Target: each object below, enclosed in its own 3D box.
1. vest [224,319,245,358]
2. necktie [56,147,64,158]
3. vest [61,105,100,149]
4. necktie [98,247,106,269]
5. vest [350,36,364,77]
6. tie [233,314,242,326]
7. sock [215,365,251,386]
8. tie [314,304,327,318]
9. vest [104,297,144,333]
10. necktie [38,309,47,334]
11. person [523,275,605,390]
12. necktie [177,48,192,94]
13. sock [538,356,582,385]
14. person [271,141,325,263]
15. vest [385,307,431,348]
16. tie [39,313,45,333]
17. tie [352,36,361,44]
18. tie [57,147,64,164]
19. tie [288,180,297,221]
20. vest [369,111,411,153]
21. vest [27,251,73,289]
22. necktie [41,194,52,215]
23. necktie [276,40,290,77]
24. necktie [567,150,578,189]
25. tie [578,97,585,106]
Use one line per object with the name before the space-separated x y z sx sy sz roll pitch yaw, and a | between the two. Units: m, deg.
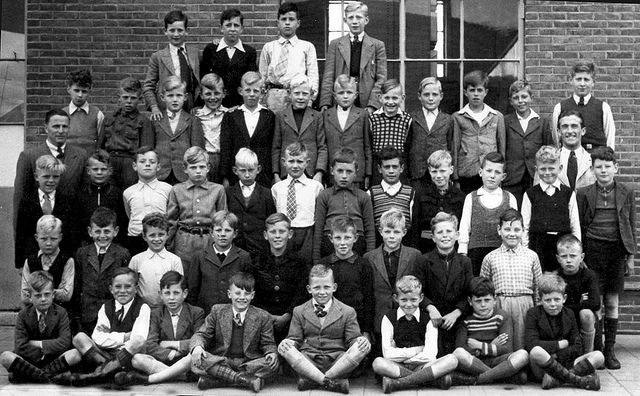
vest | -1.027 1.704 8.877 0.218 0.431 0.103 2 5 -5
necktie | -3.591 -0.627 10.154 0.103 0.125 0.040 10 -15 -6
vest | -3.400 -1.022 10.505 0.423 0.621 0.367 1 5 -15
necktie | -2.793 0.747 9.395 0.092 0.222 0.090 1 5 -16
vest | 0.522 -2.042 10.757 0.174 0.531 0.124 2 5 1
tie | -1.007 1.483 8.906 0.119 0.133 0.036 4 -2 1
sock | -1.058 2.093 8.739 0.473 0.161 0.148 18 -2 5
tie | -0.003 1.376 8.987 0.142 0.150 0.066 2 14 0
vest | -2.384 1.467 9.229 0.709 0.526 0.350 1 -11 -3
necktie | -3.418 1.520 9.053 0.105 0.271 0.094 1 5 -12
person | 2.927 1.598 8.815 0.894 1.275 0.551 3 5 12
necktie | -2.002 -1.880 10.767 0.228 0.656 0.180 3 5 5
sock | 2.915 2.006 8.748 0.584 0.190 0.214 8 22 28
person | -0.310 0.048 9.689 0.691 1.549 0.457 2 5 -2
vest | 1.077 1.565 8.997 0.610 0.469 0.304 0 6 0
tie | -3.423 1.528 9.038 0.062 0.211 0.074 0 6 -25
tie | 0.536 -2.328 10.795 0.145 0.113 0.031 -1 -6 3
tie | -3.584 -0.605 10.152 0.073 0.171 0.136 -13 20 4
tie | -0.367 0.022 9.731 0.126 0.490 0.144 2 5 -3
vest | 0.952 -0.907 10.129 0.700 0.608 0.357 2 -11 3
vest | -3.433 0.930 9.328 0.549 0.424 0.270 1 -14 2
necktie | -3.634 0.078 9.778 0.117 0.252 0.105 0 5 -19
necktie | -0.538 -2.059 10.782 0.135 0.542 0.147 5 6 30
necktie | 3.465 -0.401 10.091 0.125 0.488 0.087 5 6 27
tie | 3.712 -1.373 10.429 0.162 0.126 0.043 3 -6 15
